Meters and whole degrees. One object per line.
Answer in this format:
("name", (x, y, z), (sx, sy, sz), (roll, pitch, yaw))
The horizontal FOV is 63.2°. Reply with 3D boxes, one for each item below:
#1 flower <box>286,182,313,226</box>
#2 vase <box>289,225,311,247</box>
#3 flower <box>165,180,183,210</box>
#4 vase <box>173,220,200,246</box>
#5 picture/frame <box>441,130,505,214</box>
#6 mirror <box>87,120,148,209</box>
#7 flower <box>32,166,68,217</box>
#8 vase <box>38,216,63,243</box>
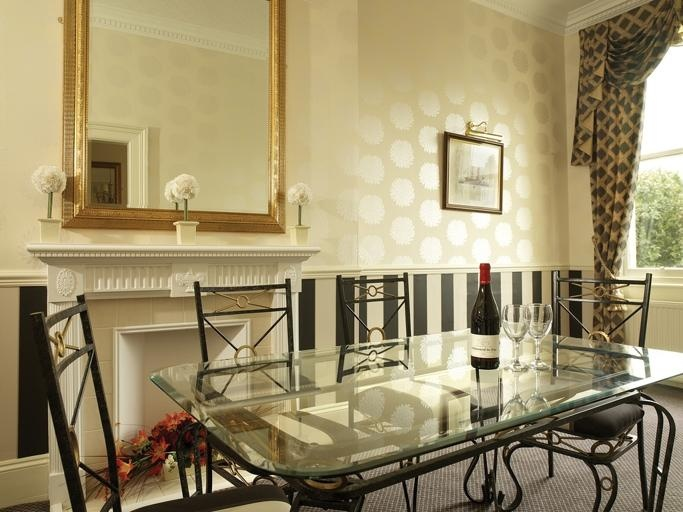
("flower", (-0.312, -0.379, 4.067), (0.170, 0.309, 0.269), (-2, 12, -6))
("vase", (-0.298, -0.145, 4.085), (0.134, 0.169, 0.132), (1, -2, -38))
("flower", (-1.126, -0.406, 3.649), (0.074, 0.187, 0.136), (-19, 17, -30))
("vase", (-1.024, -0.141, 3.658), (0.154, 0.168, 0.141), (1, -5, -33))
("picture/frame", (1.216, -0.759, 5.119), (0.812, 0.766, 0.163), (-9, 14, -34))
("mirror", (-1.576, -0.594, 3.759), (0.442, 0.706, 0.406), (0, 0, -28))
("flower", (-1.784, -0.391, 3.390), (0.190, 0.317, 0.185), (-8, 13, -29))
("vase", (-1.756, -0.159, 3.336), (0.126, 0.140, 0.130), (0, -2, -26))
